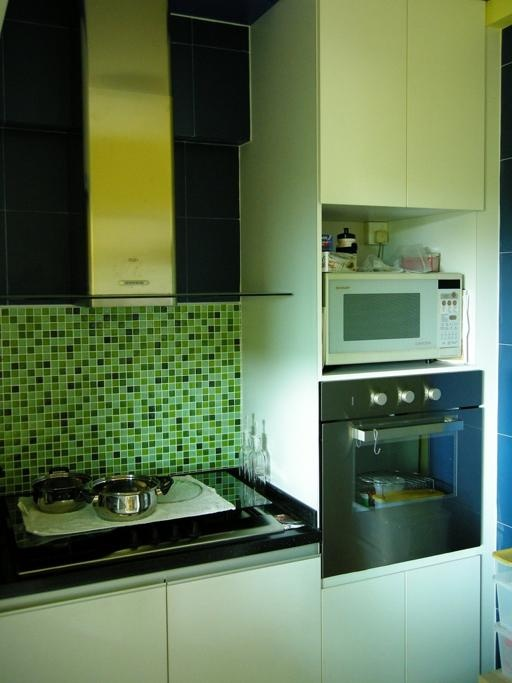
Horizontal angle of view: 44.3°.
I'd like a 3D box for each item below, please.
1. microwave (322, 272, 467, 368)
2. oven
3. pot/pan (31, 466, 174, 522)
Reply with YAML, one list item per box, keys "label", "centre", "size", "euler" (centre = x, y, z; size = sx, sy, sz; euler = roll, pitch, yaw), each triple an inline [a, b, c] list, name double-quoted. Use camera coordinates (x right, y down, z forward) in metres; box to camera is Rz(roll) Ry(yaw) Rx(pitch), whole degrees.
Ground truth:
- label: "microwave"
  centre: [0.393, -0.083, 1.894]
  size: [0.403, 0.262, 0.243]
  euler: [-2, 6, -5]
- label: "oven"
  centre: [0.388, 0.377, 1.942]
  size: [0.530, 0.558, 0.358]
  euler: [-2, 1, -18]
- label: "pot/pan"
  centre: [-0.429, 0.416, 1.729]
  size: [0.229, 0.076, 0.183]
  euler: [0, -2, 16]
